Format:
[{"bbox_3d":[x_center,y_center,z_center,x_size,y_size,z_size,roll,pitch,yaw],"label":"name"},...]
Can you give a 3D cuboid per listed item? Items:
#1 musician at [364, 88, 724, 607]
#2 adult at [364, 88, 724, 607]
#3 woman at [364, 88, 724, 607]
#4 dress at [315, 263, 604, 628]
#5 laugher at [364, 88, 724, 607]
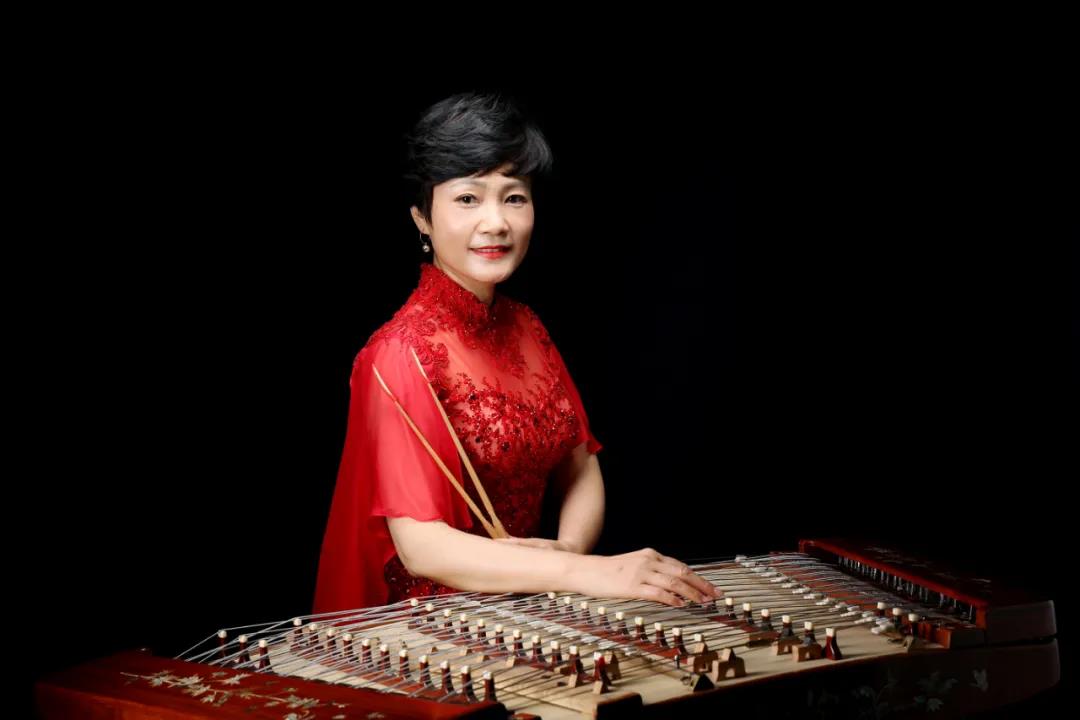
[{"bbox_3d":[-0.036,-0.018,3.326,0.856,1.618,0.688,3,-15,-9],"label":"musician"},{"bbox_3d":[-0.035,-0.019,3.325,0.857,1.618,0.690,3,-15,-10],"label":"adult"},{"bbox_3d":[-0.035,-0.018,3.325,0.858,1.618,0.690,3,-15,-10],"label":"woman"},{"bbox_3d":[-0.226,0.247,3.596,0.616,1.166,1.178,9,17,34],"label":"dress"},{"bbox_3d":[-0.035,-0.018,3.328,0.859,1.618,0.693,3,-15,-10],"label":"laugher"}]
